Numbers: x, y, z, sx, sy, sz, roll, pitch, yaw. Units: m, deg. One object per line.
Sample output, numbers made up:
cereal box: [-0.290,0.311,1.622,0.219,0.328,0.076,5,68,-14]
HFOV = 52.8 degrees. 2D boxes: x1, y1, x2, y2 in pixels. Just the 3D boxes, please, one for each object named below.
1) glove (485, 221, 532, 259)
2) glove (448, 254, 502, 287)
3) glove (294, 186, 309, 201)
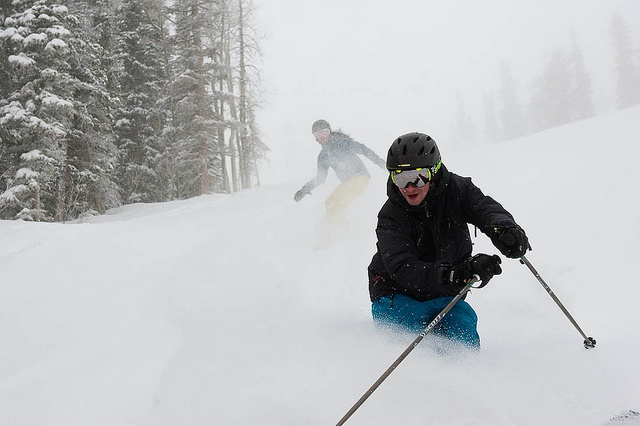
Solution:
glove: [4.030,0.553,13.739,0.642,0.845,0.391,-45,-9,6]
glove: [3.274,1.226,13.686,0.900,0.453,0.694,-34,18,-2]
glove: [-0.591,-0.504,18.866,0.452,0.140,0.294,-41,23,29]
